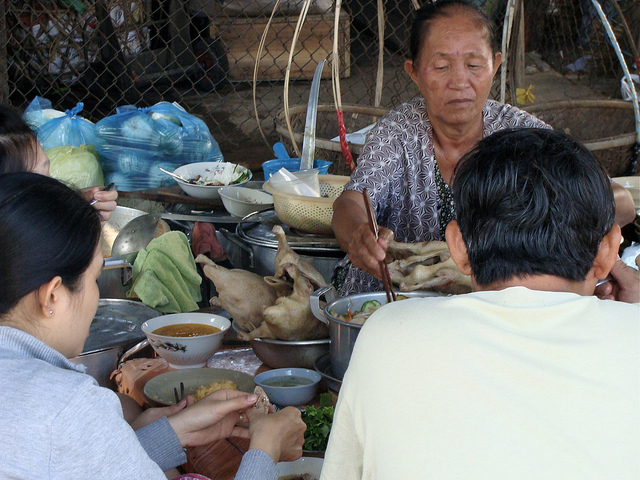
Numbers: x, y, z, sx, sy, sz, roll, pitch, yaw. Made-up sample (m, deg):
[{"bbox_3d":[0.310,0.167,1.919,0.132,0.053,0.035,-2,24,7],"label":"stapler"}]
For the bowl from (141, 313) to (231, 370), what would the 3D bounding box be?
[{"bbox_3d":[-0.406,0.320,1.723,0.248,0.121,0.264,2,6,0],"label":"bowl"}]

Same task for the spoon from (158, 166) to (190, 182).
[{"bbox_3d":[-0.890,-0.396,3.411,0.268,0.041,0.040,24,22,24],"label":"spoon"}]

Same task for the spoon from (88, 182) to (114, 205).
[{"bbox_3d":[-0.712,-0.159,1.847,0.063,0.064,0.493,-12,17,-18],"label":"spoon"}]

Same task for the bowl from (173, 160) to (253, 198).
[{"bbox_3d":[-0.625,-0.368,3.285,0.284,0.099,0.290,1,28,0],"label":"bowl"}]

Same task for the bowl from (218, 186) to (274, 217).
[{"bbox_3d":[-0.407,-0.212,2.996,0.210,0.094,0.227,6,9,-1],"label":"bowl"}]

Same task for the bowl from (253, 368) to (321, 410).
[{"bbox_3d":[-0.088,0.419,1.552,0.172,0.088,0.184,0,4,0],"label":"bowl"}]
